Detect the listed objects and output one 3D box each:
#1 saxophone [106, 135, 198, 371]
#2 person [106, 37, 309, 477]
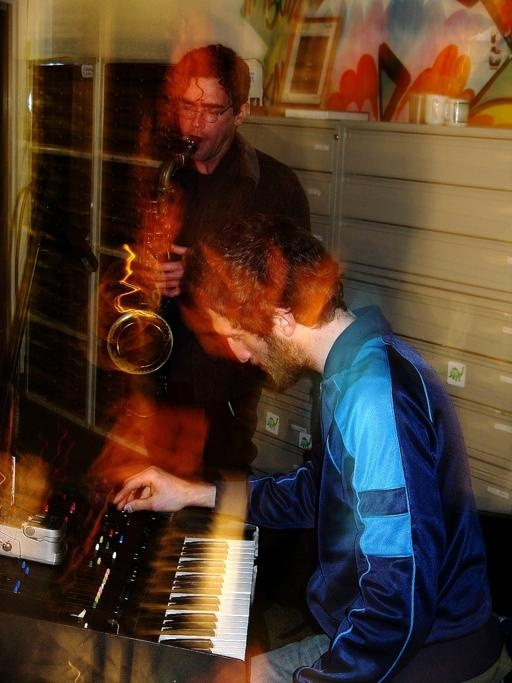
[{"bbox_3d":[-0.434,-0.328,2.300,0.294,0.952,0.312,13,30,-8],"label":"saxophone"},{"bbox_3d":[-0.272,-0.189,2.715,0.750,2.154,0.709,16,22,8],"label":"person"}]
